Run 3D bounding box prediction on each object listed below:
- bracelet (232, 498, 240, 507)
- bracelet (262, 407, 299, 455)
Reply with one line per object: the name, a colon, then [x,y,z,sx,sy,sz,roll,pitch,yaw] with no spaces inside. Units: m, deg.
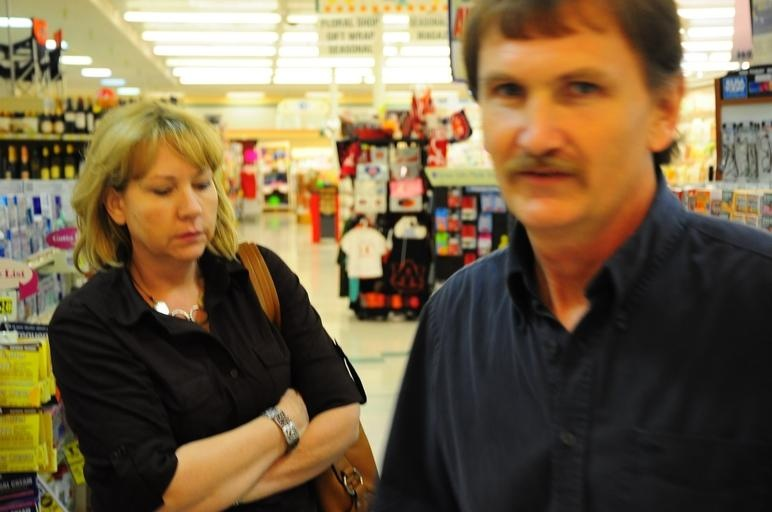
bracelet: [-0.476,0.775,2.206,0.019,0.024,0.022,7,-32,-19]
bracelet: [-0.329,0.553,2.310,0.122,0.131,0.118,-18,44,-21]
